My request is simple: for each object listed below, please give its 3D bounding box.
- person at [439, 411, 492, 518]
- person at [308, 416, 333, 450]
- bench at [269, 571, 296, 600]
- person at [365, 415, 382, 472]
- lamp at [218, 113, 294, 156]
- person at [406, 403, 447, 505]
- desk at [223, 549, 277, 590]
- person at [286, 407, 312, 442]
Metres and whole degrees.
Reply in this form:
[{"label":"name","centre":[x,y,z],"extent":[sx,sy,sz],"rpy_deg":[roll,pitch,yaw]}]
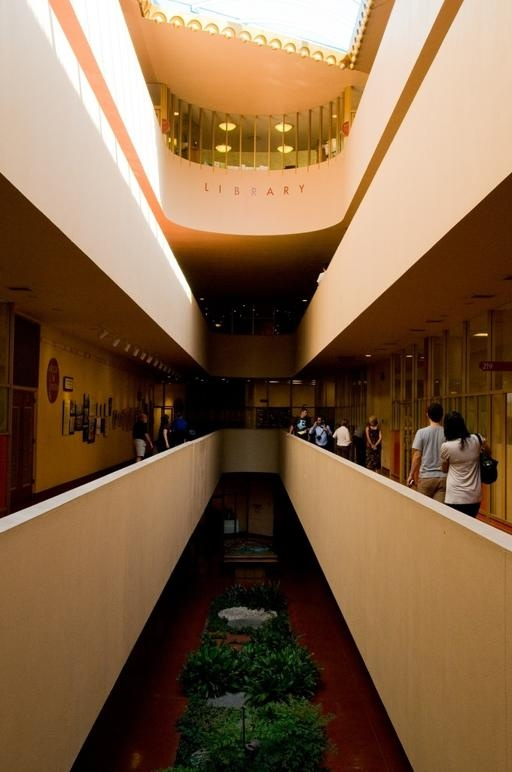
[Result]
[{"label":"person","centre":[1.625,0.604,3.868],"extent":[0.311,0.838,0.613],"rpy_deg":[-3,-8,31]},{"label":"person","centre":[1.981,1.432,14.947],"extent":[0.841,0.857,2.244],"rpy_deg":[-12,-7,14]},{"label":"bench","centre":[1.054,8.059,20.252],"extent":[1.083,0.491,3.762],"rpy_deg":[0,-9,2]},{"label":"person","centre":[2.248,1.094,9.389],"extent":[0.263,1.042,0.653],"rpy_deg":[-1,-7,11]},{"label":"lamp","centre":[0.001,-8.403,17.045],"extent":[2.558,1.728,1.690],"rpy_deg":[0,-7,2]},{"label":"person","centre":[1.823,0.843,5.142],"extent":[0.375,1.564,0.345],"rpy_deg":[-1,22,11]},{"label":"desk","centre":[-0.223,7.975,21.448],"extent":[2.364,0.934,1.921],"rpy_deg":[0,-8,1]},{"label":"person","centre":[1.626,1.431,18.614],"extent":[0.863,2.038,0.627],"rpy_deg":[1,-19,-2]}]
